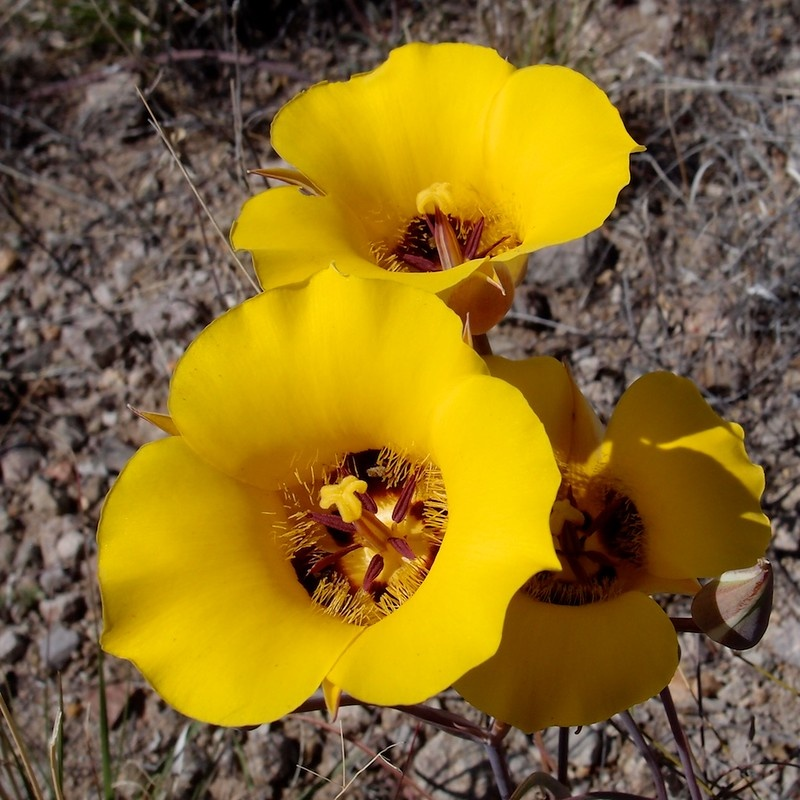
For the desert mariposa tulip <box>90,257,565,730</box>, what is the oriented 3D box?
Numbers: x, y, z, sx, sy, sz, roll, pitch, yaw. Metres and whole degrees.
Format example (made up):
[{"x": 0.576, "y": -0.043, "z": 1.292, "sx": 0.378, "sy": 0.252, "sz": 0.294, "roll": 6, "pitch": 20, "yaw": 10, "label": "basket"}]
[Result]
[{"x": -0.083, "y": 0.190, "z": 1.545, "sx": 0.785, "sy": 0.374, "sz": 0.751, "roll": 6, "pitch": 75, "yaw": 13, "label": "desert mariposa tulip"}]
